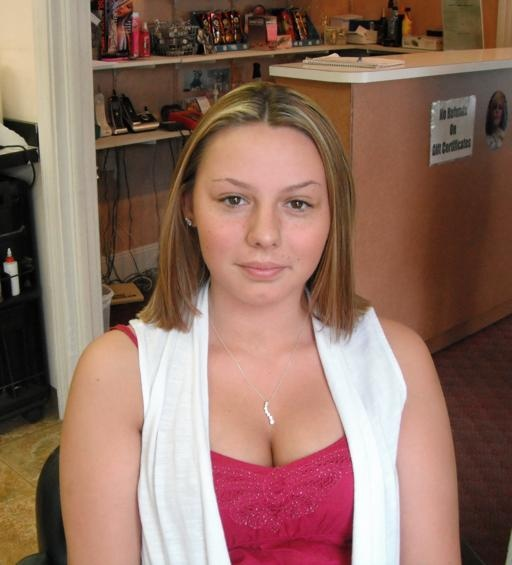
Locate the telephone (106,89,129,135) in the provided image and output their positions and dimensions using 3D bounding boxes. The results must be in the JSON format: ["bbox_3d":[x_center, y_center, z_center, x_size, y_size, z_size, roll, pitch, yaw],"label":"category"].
[{"bbox_3d":[-1.101,-1.324,4.019,0.115,0.456,0.207,-5,-24,-17],"label":"telephone"}]

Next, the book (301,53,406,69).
[{"bbox_3d":[0.543,-1.116,2.545,0.249,0.033,0.269,-15,23,-37],"label":"book"}]

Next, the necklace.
[{"bbox_3d":[0.015,0.176,0.984,0.170,0.186,0.041,0,-19,-11],"label":"necklace"}]
